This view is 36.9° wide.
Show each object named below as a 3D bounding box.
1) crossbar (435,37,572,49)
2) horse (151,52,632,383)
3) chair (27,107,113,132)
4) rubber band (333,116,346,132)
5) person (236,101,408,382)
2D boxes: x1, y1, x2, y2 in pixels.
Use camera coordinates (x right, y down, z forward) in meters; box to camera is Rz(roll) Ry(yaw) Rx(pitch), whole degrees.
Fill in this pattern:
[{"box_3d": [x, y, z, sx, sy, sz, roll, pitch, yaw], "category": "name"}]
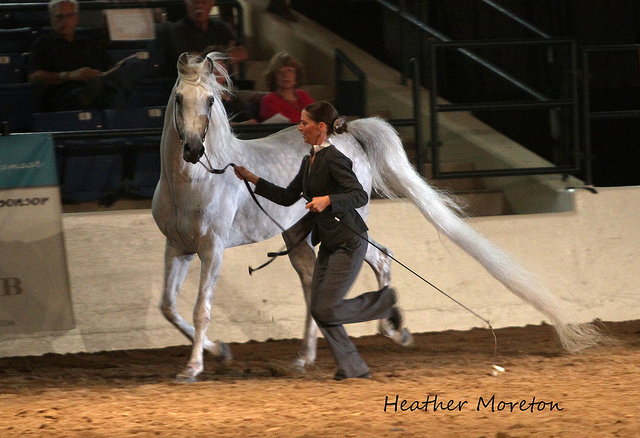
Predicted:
[{"box_3d": [1.928, -1.870, 10.201, 1.493, 0.100, 0.307, -2, 8, -9], "category": "crossbar"}, {"box_3d": [0.059, -0.091, 8.716, 3.119, 2.814, 1.084, -5, 10, -23], "category": "horse"}, {"box_3d": [-2.676, -1.062, 10.209, 0.862, 0.243, 0.359, -3, 9, -11], "category": "chair"}, {"box_3d": [0.167, -0.800, 7.871, 0.050, 0.050, 0.187, 5, 26, 19], "category": "rubber band"}, {"box_3d": [0.082, 0.184, 7.979, 1.237, 2.299, 0.633, -3, 10, -5], "category": "person"}]
